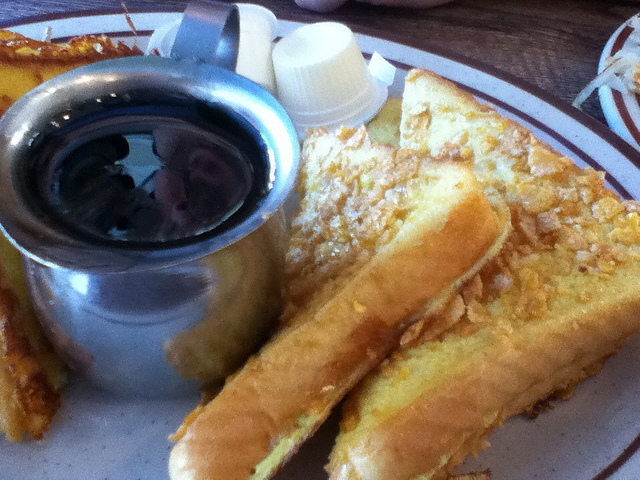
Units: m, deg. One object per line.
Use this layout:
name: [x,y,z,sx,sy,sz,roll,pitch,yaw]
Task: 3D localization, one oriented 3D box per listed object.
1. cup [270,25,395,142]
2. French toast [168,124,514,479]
cup: [-0.004,-0.362,1.575,0.336,0.158,0.334,-8,28,4]
French toast: [0.056,0.064,1.185,0.537,0.560,0.633,6,26,17]
